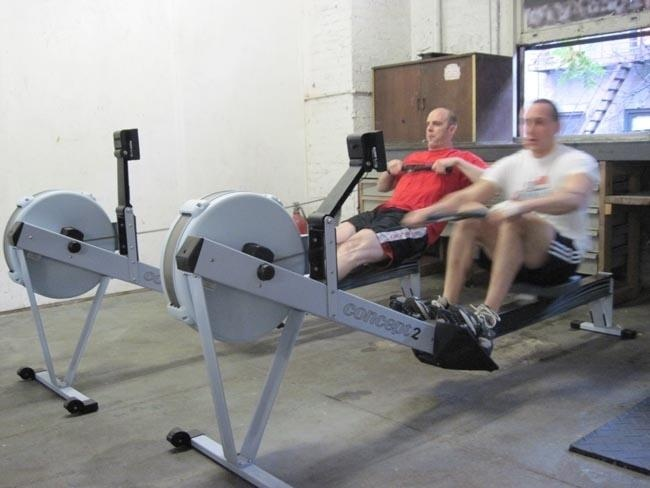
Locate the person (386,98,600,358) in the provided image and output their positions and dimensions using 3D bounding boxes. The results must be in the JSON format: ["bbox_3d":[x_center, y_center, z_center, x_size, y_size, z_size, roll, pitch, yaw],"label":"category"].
[{"bbox_3d":[0.861,-0.132,2.914,1.018,1.152,0.560,-9,14,-27],"label":"person"}]

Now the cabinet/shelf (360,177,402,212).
[{"bbox_3d":[0.353,-0.358,4.326,0.373,0.343,0.250,-4,8,-25],"label":"cabinet/shelf"}]

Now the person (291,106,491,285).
[{"bbox_3d":[0.357,-0.349,3.483,1.489,0.931,0.925,-13,19,-40],"label":"person"}]

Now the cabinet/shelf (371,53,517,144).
[{"bbox_3d":[1.090,-1.384,5.658,0.480,0.788,1.282,-15,18,-37],"label":"cabinet/shelf"}]

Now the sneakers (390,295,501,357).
[{"bbox_3d":[0.586,0.340,2.740,0.454,0.175,0.273,21,1,-16],"label":"sneakers"}]
